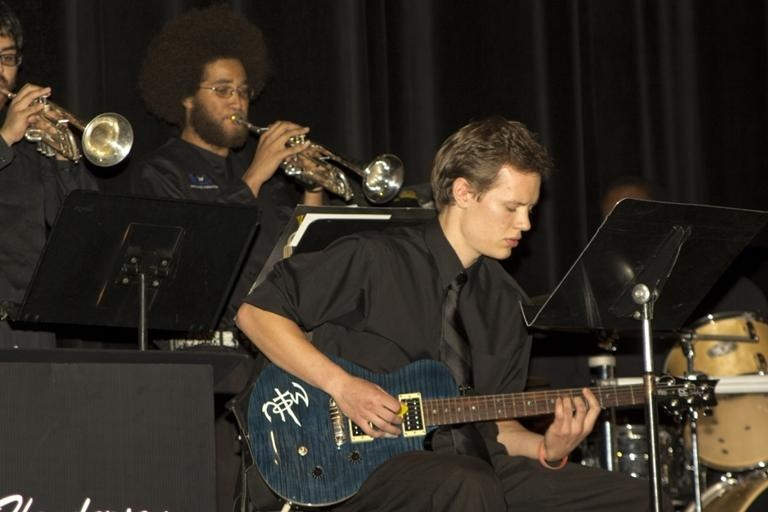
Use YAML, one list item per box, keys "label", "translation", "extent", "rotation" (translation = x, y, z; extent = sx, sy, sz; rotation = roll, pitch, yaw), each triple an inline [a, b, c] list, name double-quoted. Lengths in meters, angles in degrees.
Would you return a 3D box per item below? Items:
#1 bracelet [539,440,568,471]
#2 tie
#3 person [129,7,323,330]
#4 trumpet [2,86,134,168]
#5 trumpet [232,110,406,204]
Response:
- label: "bracelet"
  translation: [0.741, 0.895, 4.490]
  extent: [0.126, 0.110, 0.032]
  rotation: [-12, 6, -12]
- label: "tie"
  translation: [0.347, 0.497, 4.519]
  extent: [0.308, 0.698, 0.075]
  rotation: [4, -14, -26]
- label: "person"
  translation: [-0.901, -0.472, 5.757]
  extent: [0.957, 1.887, 0.862]
  rotation: [-8, 24, -35]
- label: "trumpet"
  translation: [-1.556, -0.631, 4.987]
  extent: [0.854, 0.384, 0.300]
  rotation: [23, -20, 42]
- label: "trumpet"
  translation: [-0.420, -0.567, 5.694]
  extent: [0.965, 0.241, 0.345]
  rotation: [21, 44, 22]
